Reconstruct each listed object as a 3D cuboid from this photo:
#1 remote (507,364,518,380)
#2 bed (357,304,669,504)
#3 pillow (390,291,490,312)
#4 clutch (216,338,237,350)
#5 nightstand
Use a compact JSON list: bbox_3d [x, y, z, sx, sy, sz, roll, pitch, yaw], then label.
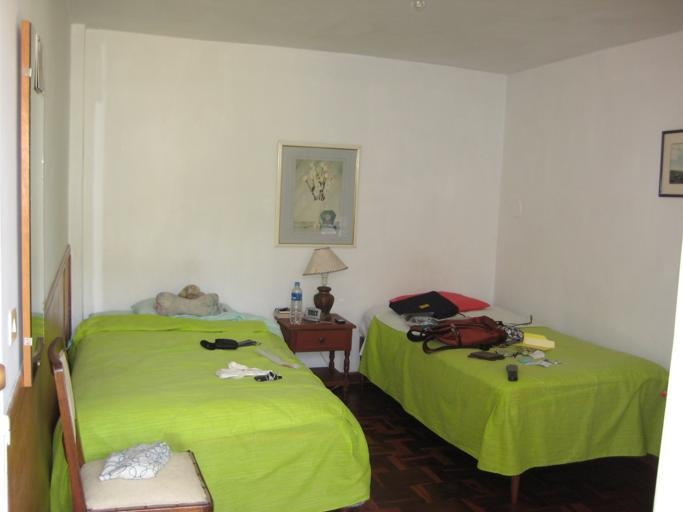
[{"bbox_3d":[1.026,0.709,3.127,0.080,0.101,0.072,0,-5,3],"label":"remote"},{"bbox_3d":[0.948,0.885,3.606,1.122,0.496,1.295,-1,4,-21],"label":"bed"},{"bbox_3d":[1.074,0.415,4.661,0.411,0.109,0.377,-1,4,-15],"label":"pillow"},{"bbox_3d":[-0.763,0.582,3.425,0.089,0.025,0.085,3,9,0],"label":"clutch"},{"bbox_3d":[-0.201,0.871,4.521,0.717,0.891,0.700,-2,8,-15],"label":"nightstand"}]
